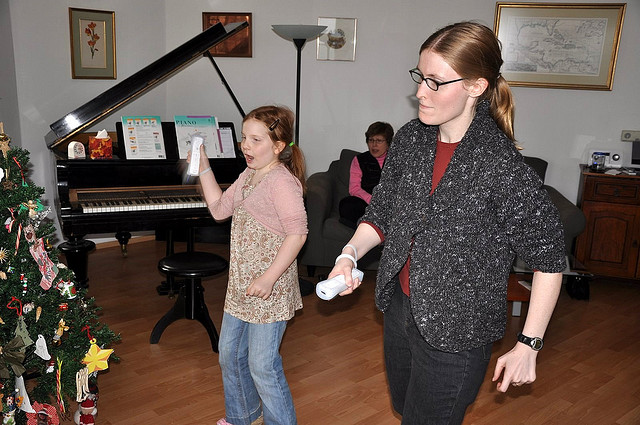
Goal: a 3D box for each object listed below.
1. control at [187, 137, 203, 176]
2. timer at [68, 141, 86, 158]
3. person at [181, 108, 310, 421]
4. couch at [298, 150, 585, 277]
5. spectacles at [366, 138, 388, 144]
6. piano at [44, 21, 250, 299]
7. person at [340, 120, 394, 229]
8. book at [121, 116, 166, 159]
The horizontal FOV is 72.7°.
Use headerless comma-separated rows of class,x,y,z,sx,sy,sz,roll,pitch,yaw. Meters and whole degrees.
control,-0.656,-0.288,2.272,0.073,0.211,0.154,-5,16,-17
timer,-1.854,-0.460,3.328,0.120,0.139,0.152,1,0,-40
person,-0.312,0.340,2.191,0.581,1.677,0.589,-5,16,-15
couch,1.087,0.088,4.496,2.687,1.304,1.159,4,10,8
spectacles,0.555,-0.705,4.260,0.200,0.056,0.055,4,16,17
piano,-1.140,-0.492,4.341,1.850,2.369,2.201,-3,10,-22
person,0.537,-0.395,4.258,0.632,0.929,0.813,1,15,7
book,-1.412,-0.583,3.431,0.339,0.398,0.040,-5,-16,-22
